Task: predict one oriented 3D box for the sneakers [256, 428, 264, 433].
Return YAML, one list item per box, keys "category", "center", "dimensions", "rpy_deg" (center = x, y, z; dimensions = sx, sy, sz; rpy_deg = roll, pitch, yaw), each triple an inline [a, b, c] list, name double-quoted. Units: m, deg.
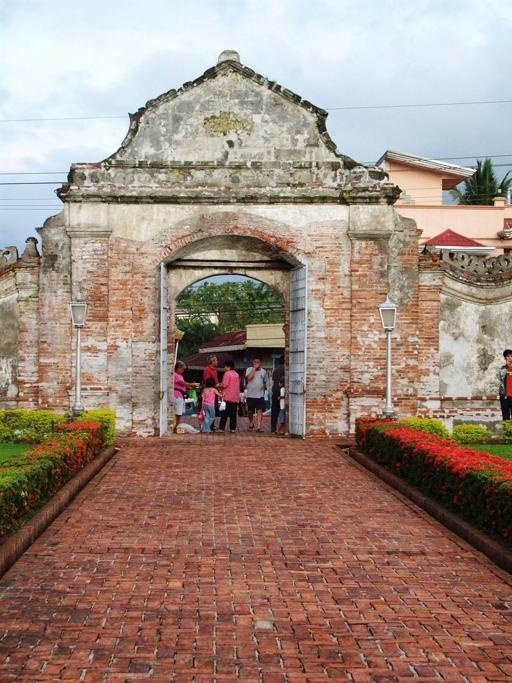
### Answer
- category: "sneakers"
  center: [0.084, 1.958, 16.285]
  dimensions: [0.124, 0.116, 0.314]
  rpy_deg: [0, -10, -13]
